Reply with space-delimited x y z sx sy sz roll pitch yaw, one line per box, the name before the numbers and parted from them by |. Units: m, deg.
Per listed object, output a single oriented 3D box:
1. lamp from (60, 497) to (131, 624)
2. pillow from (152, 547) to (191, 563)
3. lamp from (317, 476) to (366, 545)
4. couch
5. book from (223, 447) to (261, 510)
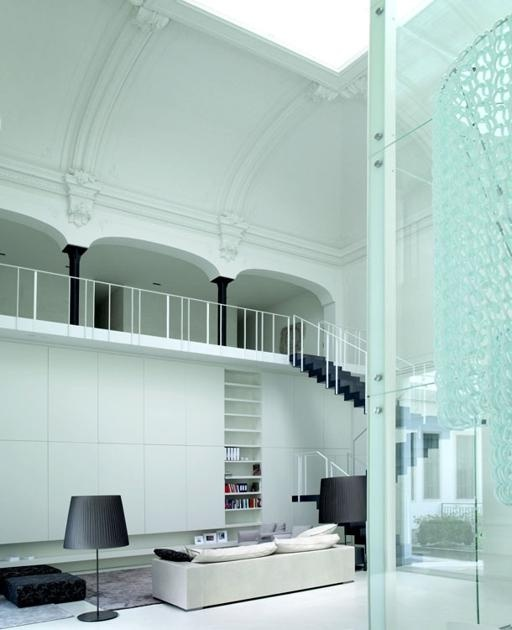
lamp | -1.654 2.558 6.324 0.615 1.348 1.050 -1 -8 -5
pillow | -0.964 2.787 6.834 0.411 0.102 0.244 6 -2 27
lamp | 0.870 1.855 6.029 0.483 0.453 0.454 -3 -8 5
couch | 0.069 3.125 7.348 2.569 0.651 1.031 3 -9 -30
book | -0.320 3.372 12.385 0.831 1.286 0.690 1 -8 -25
